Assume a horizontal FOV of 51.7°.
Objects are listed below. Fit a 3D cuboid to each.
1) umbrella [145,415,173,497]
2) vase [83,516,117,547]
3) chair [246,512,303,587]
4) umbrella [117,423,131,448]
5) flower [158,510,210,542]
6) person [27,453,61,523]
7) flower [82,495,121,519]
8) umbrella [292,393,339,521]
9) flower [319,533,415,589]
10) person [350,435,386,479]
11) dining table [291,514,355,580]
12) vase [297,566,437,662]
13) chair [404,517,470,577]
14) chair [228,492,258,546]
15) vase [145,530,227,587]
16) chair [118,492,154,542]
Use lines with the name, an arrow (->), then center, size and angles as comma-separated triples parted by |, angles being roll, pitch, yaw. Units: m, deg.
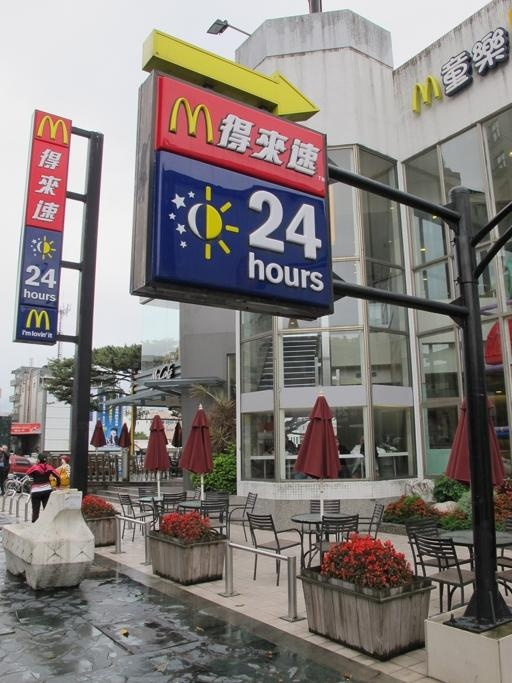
umbrella -> -2.227, 2.657, 12.165 | 0.631, 1.895, 0.564 | -5, -2, 13
vase -> -2.958, 3.610, 10.057 | 0.554, 0.593, 0.284 | 3, -5, -18
chair -> 0.294, 3.128, 8.154 | 0.575, 1.062, 0.712 | -12, -14, 43
umbrella -> -6.336, 4.521, 25.390 | 0.519, 1.536, 3.524 | 3, -4, -14
flower -> -0.945, 2.530, 7.349 | 0.439, 0.354, 0.506 | 5, -1, 12
person -> -4.237, 2.854, 10.524 | 0.549, 1.410, 1.805 | 4, -5, -20
flower -> -3.030, 3.163, 10.202 | 0.625, 0.389, 0.633 | 4, -5, -24
umbrella -> 1.013, 1.479, 8.198 | 0.718, 1.261, 0.555 | 5, -6, -31
flower -> 1.035, 2.008, 4.803 | 0.508, 0.408, 0.571 | 5, -11, 32
person -> 2.783, 2.857, 13.096 | 0.893, 0.939, 0.250 | 4, -5, -22
dining table -> 1.144, 3.091, 8.194 | 0.878, 0.981, 0.853 | -2, -7, 44
vase -> 0.976, 2.363, 4.799 | 0.670, 0.546, 0.970 | 8, -16, -30
chair -> 2.224, 2.627, 6.633 | 0.559, 0.797, 0.580 | -3, -27, -12
chair -> -0.383, 4.229, 12.807 | 0.635, 0.960, 0.632 | -9, -12, 10
vase -> -0.978, 2.965, 7.464 | 0.757, 0.557, 0.910 | 9, -18, -34
chair -> -2.811, 4.173, 12.809 | 0.602, 0.842, 0.641 | -9, -14, 31
